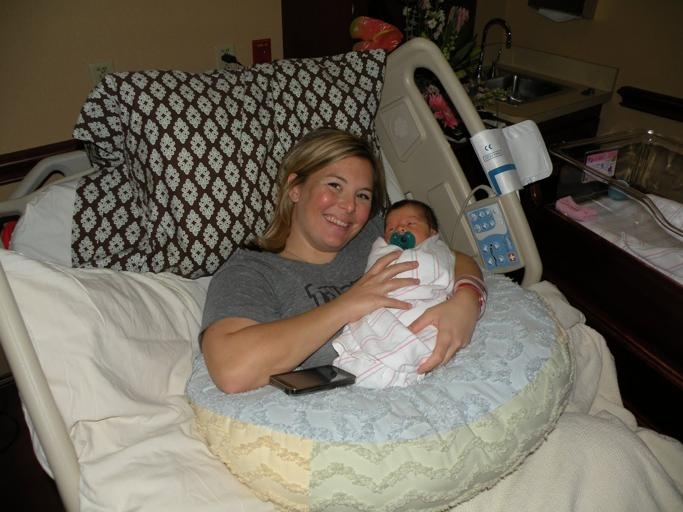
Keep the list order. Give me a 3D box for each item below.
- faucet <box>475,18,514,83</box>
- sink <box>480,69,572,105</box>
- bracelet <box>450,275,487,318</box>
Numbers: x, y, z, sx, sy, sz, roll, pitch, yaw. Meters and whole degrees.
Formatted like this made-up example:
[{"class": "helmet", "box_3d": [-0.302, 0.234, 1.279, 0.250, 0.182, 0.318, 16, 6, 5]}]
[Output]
[{"class": "faucet", "box_3d": [1.019, -1.347, 3.348, 0.192, 0.447, 0.085, 10, -7, 15]}, {"class": "sink", "box_3d": [1.323, -1.163, 3.502, 0.350, 0.182, 0.427, -29, 50, -26]}, {"class": "bracelet", "box_3d": [0.471, 0.162, 1.788, 0.107, 0.073, 0.147, 1, 72, 2]}]
